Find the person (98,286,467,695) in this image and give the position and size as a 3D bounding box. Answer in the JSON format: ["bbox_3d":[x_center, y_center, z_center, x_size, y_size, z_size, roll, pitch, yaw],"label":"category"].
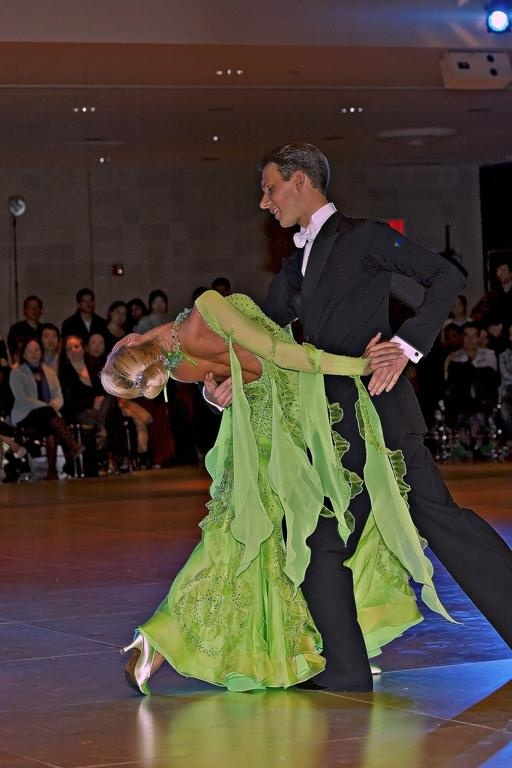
[{"bbox_3d":[0.081,0.262,1.894,0.921,0.977,0.686,-6,-10,-8],"label":"person"}]

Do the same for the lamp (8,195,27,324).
[{"bbox_3d":[-3.222,-1.695,9.368,0.231,1.695,0.216,-3,-2,18],"label":"lamp"}]

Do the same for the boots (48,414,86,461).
[{"bbox_3d":[-2.246,0.618,8.234,0.379,0.530,0.194,-1,-2,-41],"label":"boots"}]

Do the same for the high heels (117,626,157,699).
[{"bbox_3d":[-0.286,0.674,1.706,0.082,0.178,0.138,-2,-2,-15],"label":"high heels"}]
